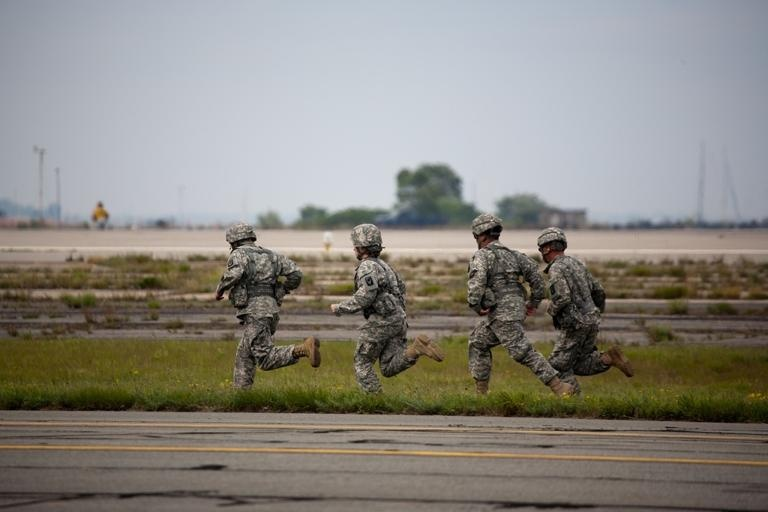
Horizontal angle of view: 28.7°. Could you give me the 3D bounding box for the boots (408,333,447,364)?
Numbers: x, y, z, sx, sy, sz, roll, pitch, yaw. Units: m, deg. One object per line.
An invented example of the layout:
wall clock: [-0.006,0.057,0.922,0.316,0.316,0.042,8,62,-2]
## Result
boots: [0.706,1.714,26.716,0.612,0.433,0.290,23,-2,13]

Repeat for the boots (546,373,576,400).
boots: [3.099,2.387,26.638,0.427,0.188,0.332,19,8,40]

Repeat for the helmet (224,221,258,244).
helmet: [-2.619,-0.393,27.497,0.602,0.481,0.481,4,5,29]

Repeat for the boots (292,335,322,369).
boots: [-1.390,1.644,26.941,0.370,0.840,0.284,-14,-12,6]

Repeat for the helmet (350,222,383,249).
helmet: [-0.361,-0.348,27.040,0.517,0.423,0.386,-8,11,-14]

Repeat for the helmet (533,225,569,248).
helmet: [2.959,-0.325,27.241,0.358,0.368,0.462,4,6,-34]

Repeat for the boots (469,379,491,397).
boots: [1.703,2.436,27.195,0.249,0.336,0.268,-1,-4,-5]
